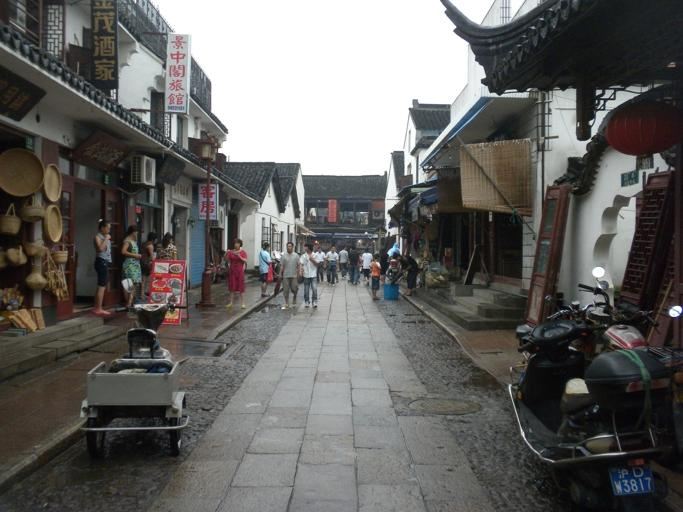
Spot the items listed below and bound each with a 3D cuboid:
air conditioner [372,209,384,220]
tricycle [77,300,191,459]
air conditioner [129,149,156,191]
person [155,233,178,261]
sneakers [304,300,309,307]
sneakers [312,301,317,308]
[{"bbox_3d":[3.219,-3.700,50.978,1.039,0.856,0.385,2,4,5],"label":"air conditioner"},{"bbox_3d":[-2.065,1.276,5.866,1.003,1.437,1.076,1,4,-4],"label":"tricycle"},{"bbox_3d":[-4.441,-1.874,12.608,0.311,0.644,0.641,0,-2,3],"label":"air conditioner"},{"bbox_3d":[-4.087,-0.233,13.201,0.401,0.577,1.166,0,5,-20],"label":"person"},{"bbox_3d":[-0.951,1.315,15.267,0.114,0.151,0.124,0,-3,0],"label":"sneakers"},{"bbox_3d":[-0.751,1.295,15.155,0.132,0.182,0.392,-1,-4,-4],"label":"sneakers"}]
